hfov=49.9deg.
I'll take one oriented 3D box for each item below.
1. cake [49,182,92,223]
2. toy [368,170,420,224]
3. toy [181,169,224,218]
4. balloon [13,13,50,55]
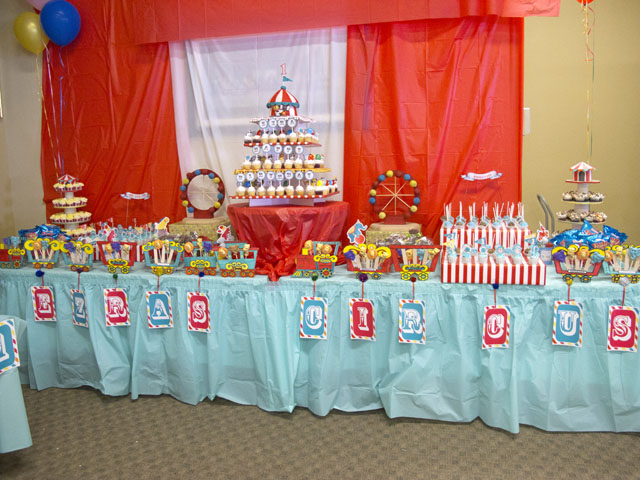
[{"bbox_3d":[-2.028,-0.303,5.694,0.316,0.392,0.350,0,5,-10],"label":"cake"},{"bbox_3d":[0.593,-0.363,5.372,0.332,0.429,0.112,0,6,4],"label":"toy"},{"bbox_3d":[-0.956,-0.389,5.572,0.362,0.389,0.405,-2,6,2],"label":"toy"},{"bbox_3d":[-2.371,-1.714,5.726,0.229,0.358,0.237,-23,13,-20],"label":"balloon"}]
